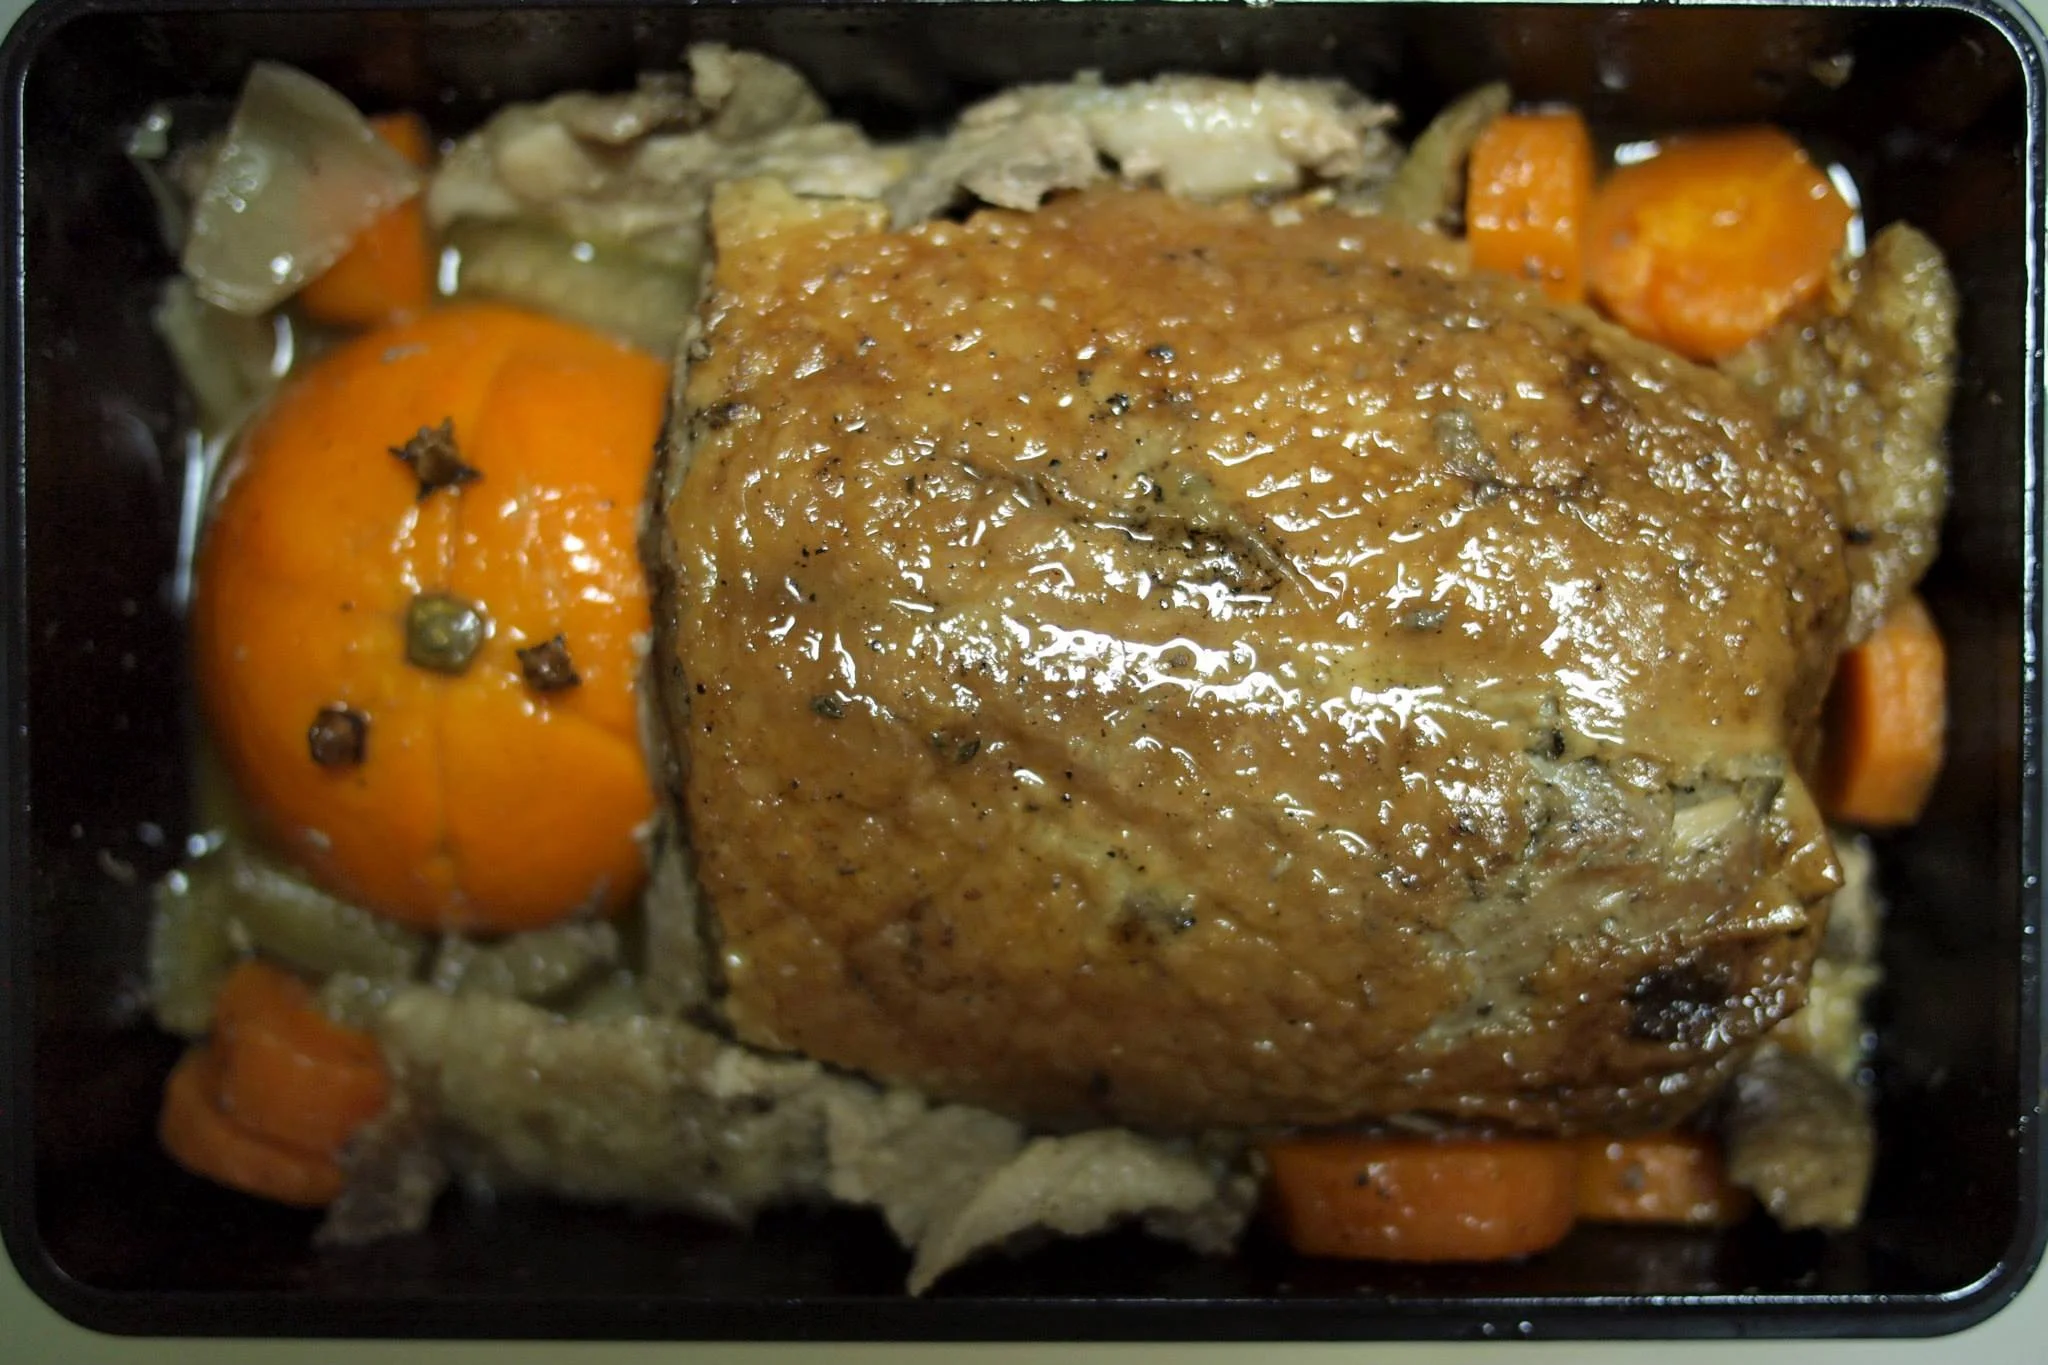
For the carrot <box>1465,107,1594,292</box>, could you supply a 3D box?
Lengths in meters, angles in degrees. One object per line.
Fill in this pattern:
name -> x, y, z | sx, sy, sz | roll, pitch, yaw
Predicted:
carrot -> 0.724, -0.725, 3.269 | 0.100, 0.185, 0.176 | -17, -57, -25
